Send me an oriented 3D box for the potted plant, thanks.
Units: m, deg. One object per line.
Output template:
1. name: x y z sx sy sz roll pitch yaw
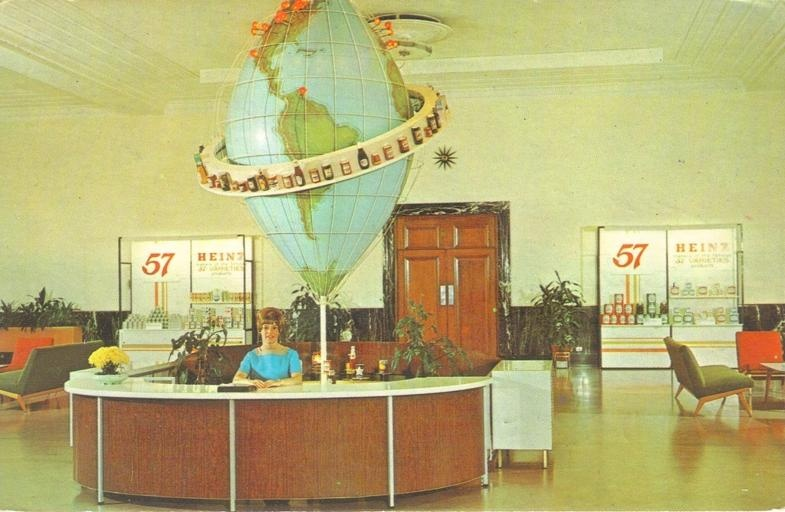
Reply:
1. potted plant: 3.350 1.216 16.082 0.881 1.764 0.640 0 0 5

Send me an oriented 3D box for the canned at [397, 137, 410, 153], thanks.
1. canned: 0.124 -1.216 8.654 0.157 0.244 0.158 1 -2 -2

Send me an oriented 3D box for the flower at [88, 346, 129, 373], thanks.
1. flower: -3.479 1.264 9.904 0.422 0.400 0.609 0 11 -17

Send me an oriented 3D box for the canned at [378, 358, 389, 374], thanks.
1. canned: -0.143 1.671 12.168 0.187 0.190 0.183 1 -2 21

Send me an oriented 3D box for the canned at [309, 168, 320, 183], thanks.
1. canned: -0.814 -0.876 8.613 0.148 0.153 0.137 0 0 -7

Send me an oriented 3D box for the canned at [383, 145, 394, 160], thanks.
1. canned: -0.040 -1.128 8.618 0.104 0.149 0.043 -4 14 -30

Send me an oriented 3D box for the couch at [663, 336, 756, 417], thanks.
1. couch: 4.932 1.868 12.713 1.175 1.214 1.154 -1 -4 7

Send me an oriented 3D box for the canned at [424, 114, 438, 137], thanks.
1. canned: 0.422 -1.447 8.790 0.094 0.235 0.171 11 14 33
